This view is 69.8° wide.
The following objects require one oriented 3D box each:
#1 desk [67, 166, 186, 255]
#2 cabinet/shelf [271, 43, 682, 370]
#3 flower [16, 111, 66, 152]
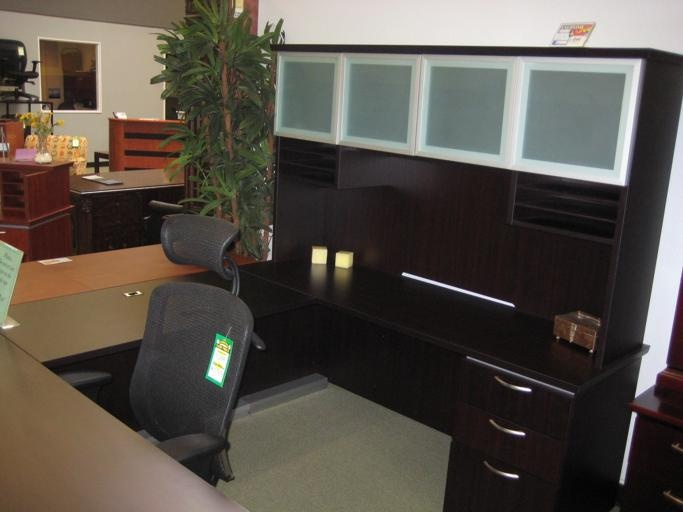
[{"bbox_3d":[-2.842,-0.595,6.596,1.778,1.355,1.064,-9,13,-44],"label":"desk"},{"bbox_3d":[0.831,-0.316,2.946,0.590,1.598,2.250,-8,12,-35],"label":"cabinet/shelf"},{"bbox_3d":[-3.787,-1.582,6.318,0.386,0.491,0.442,20,16,9],"label":"flower"}]
